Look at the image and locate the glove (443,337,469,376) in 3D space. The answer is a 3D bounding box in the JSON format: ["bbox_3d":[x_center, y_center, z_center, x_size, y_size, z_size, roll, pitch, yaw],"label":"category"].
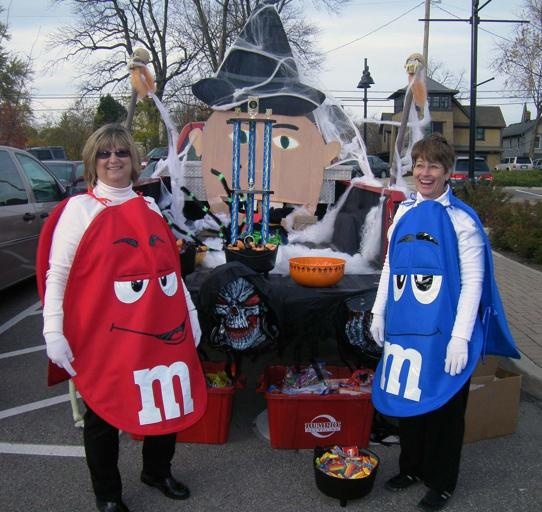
[{"bbox_3d":[0.866,0.461,2.468,0.116,0.196,0.075,1,9,4],"label":"glove"}]

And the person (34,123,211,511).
[{"bbox_3d":[-0.675,0.322,2.485,0.739,1.849,0.429,-5,10,-25],"label":"person"}]

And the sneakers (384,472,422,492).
[{"bbox_3d":[0.698,1.166,2.826,0.184,0.095,0.079,-9,11,-10],"label":"sneakers"}]

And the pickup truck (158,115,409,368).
[{"bbox_3d":[0.205,-0.271,3.980,1.104,1.187,2.334,2,10,1],"label":"pickup truck"}]

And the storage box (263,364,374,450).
[{"bbox_3d":[0.265,0.902,3.074,0.455,0.278,0.369,1,-7,-1],"label":"storage box"}]

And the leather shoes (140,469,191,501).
[{"bbox_3d":[-0.529,1.162,2.759,0.274,0.133,0.110,12,6,17],"label":"leather shoes"}]

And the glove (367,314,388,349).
[{"bbox_3d":[0.565,0.399,2.810,0.101,0.169,0.067,0,-5,2],"label":"glove"}]

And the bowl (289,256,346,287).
[{"bbox_3d":[0.274,0.099,3.320,0.219,0.102,0.231,-1,5,0],"label":"bowl"}]

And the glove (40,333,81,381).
[{"bbox_3d":[-0.896,0.425,2.307,0.078,0.210,0.141,-21,35,-19],"label":"glove"}]

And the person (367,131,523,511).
[{"bbox_3d":[0.810,0.332,2.611,0.702,1.831,0.436,4,10,26],"label":"person"}]
